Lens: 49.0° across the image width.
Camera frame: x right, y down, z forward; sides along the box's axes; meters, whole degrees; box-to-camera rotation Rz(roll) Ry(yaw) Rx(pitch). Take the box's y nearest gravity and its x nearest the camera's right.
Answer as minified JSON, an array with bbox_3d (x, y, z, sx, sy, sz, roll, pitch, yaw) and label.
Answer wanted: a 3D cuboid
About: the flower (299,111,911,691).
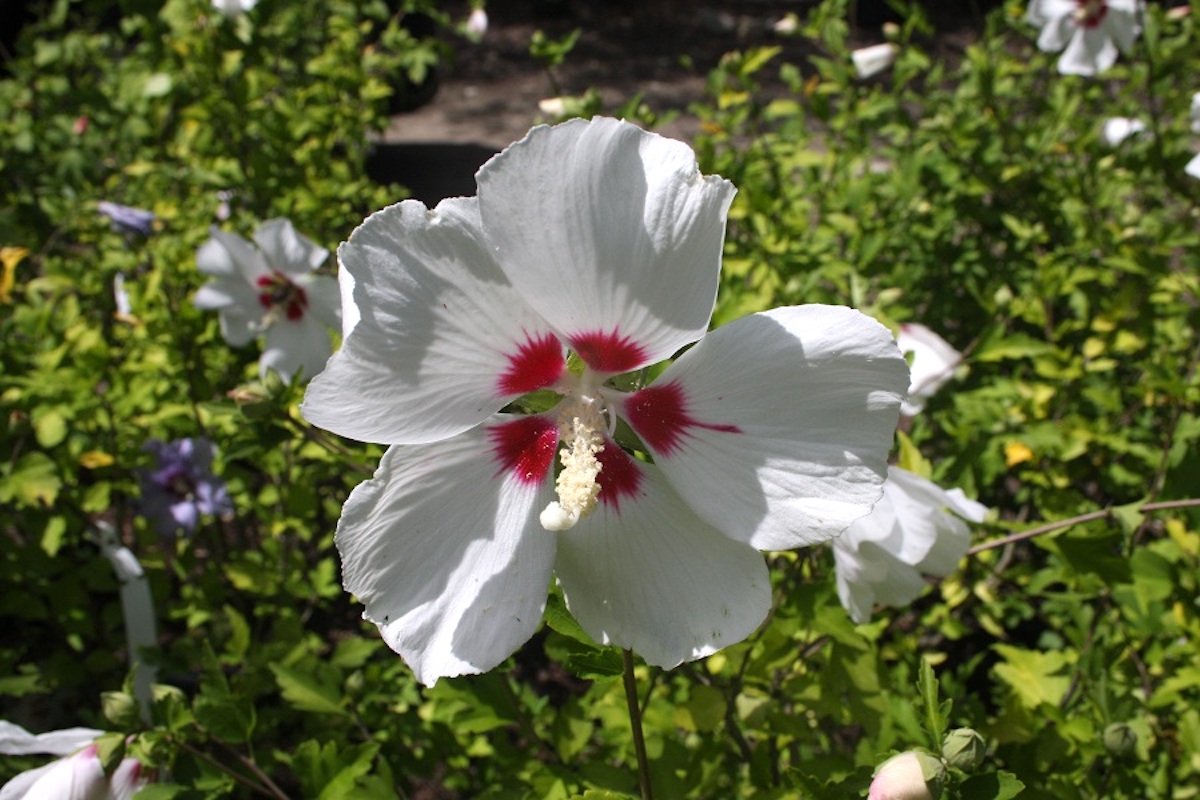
[{"bbox_3d":[-0.062,0.038,3.076,0.570,1.236,1.123,34,55,20],"label":"flower"}]

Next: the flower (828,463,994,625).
[{"bbox_3d":[0.674,0.312,2.949,0.237,0.254,0.128,-20,94,1],"label":"flower"}]

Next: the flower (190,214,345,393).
[{"bbox_3d":[-0.858,-0.371,3.585,0.425,0.384,0.135,-36,105,-9],"label":"flower"}]
